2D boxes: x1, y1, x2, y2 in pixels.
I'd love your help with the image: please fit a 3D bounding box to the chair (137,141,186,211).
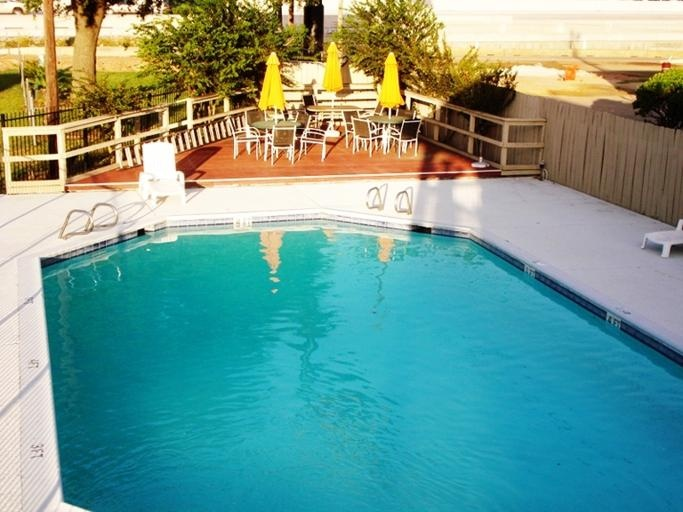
[{"bbox_3d":[-3.873,-1.742,10.282,0.828,1.252,1.175,-8,19,-24],"label":"chair"}]
